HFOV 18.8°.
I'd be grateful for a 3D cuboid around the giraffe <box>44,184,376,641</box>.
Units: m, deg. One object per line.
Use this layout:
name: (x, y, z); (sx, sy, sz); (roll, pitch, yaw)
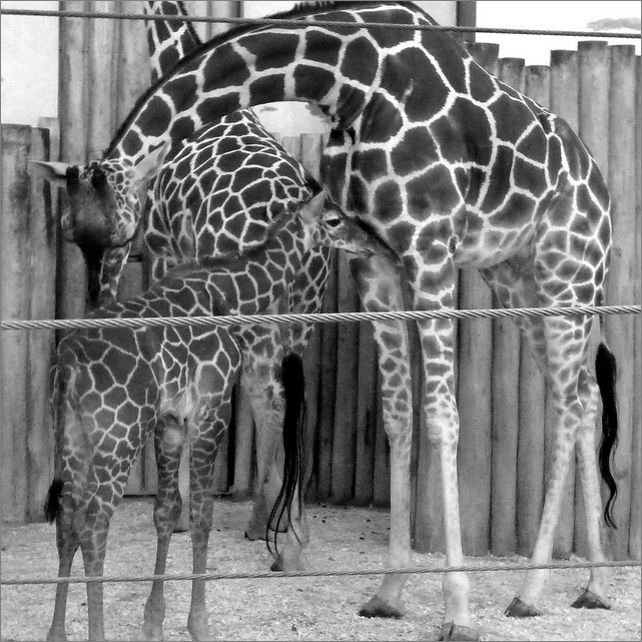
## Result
giraffe: (-0.498, 0.298, 6.917); (0.505, 1.581, 1.209); (5, 5, 30)
